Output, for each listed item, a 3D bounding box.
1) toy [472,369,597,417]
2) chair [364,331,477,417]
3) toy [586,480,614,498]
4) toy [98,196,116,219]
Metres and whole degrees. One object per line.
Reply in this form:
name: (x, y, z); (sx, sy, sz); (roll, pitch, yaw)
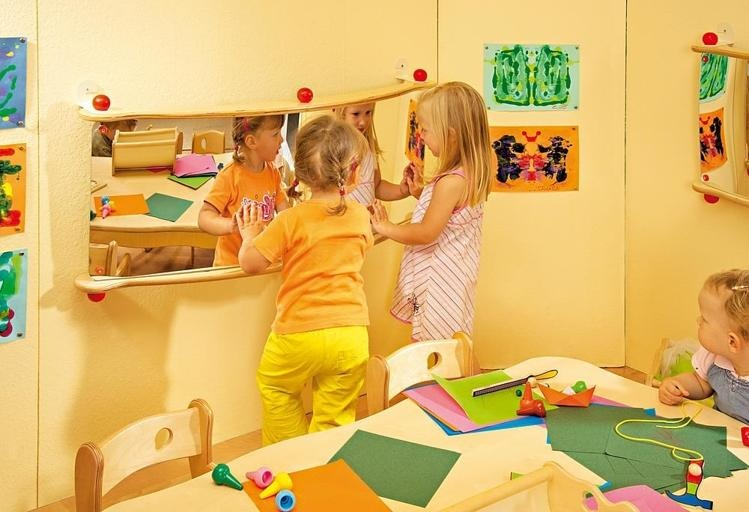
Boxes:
toy: (0.531, 0.432, 1.852); (0.223, 0.082, 0.163); (-13, 25, -34)
chair: (0.163, 0.412, 2.049); (0.460, 0.301, 0.150); (-15, 27, -33)
toy: (0.589, 0.591, 1.516); (0.040, 0.012, 0.040); (-13, 17, -43)
toy: (-1.045, -0.191, 2.279); (0.059, 0.079, 0.031); (-16, -7, -34)
